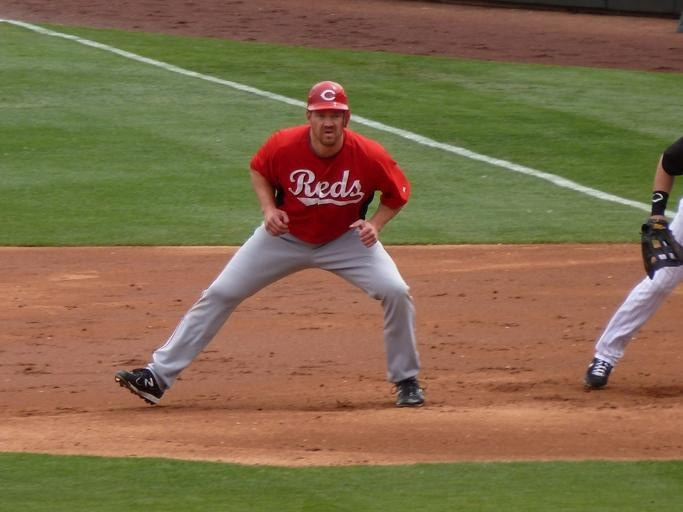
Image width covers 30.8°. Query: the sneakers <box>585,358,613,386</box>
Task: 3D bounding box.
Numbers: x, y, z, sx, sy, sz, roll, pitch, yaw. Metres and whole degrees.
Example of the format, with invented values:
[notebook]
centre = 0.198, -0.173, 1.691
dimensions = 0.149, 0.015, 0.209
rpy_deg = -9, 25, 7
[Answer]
[sneakers]
centre = 1.827, 0.839, 8.906
dimensions = 0.127, 0.128, 0.316
rpy_deg = 37, 12, 1
